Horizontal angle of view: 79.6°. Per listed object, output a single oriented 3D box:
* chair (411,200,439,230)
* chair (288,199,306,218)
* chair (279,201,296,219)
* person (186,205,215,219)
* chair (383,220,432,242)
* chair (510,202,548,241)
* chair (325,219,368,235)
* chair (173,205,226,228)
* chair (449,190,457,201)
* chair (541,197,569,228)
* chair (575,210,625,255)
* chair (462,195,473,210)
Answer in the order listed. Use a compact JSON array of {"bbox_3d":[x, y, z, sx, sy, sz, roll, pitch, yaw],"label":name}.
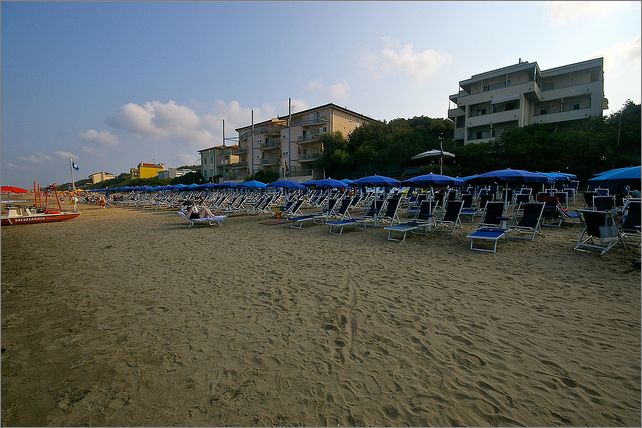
[{"bbox_3d":[3.191,0.004,12.010,0.652,0.650,0.760,13,34,25],"label":"chair"},{"bbox_3d":[-1.073,-0.225,16.220,0.880,0.706,0.579,-9,5,-31],"label":"chair"},{"bbox_3d":[-1.462,-0.132,16.668,0.664,0.287,0.923,1,14,7],"label":"chair"},{"bbox_3d":[-4.594,-0.075,14.718,0.965,0.386,0.536,-5,10,-32],"label":"person"},{"bbox_3d":[2.621,0.518,11.756,1.491,0.313,0.688,-10,11,-40],"label":"chair"},{"bbox_3d":[5.612,0.167,10.420,1.051,0.859,0.616,-17,17,-38],"label":"chair"},{"bbox_3d":[0.888,0.415,13.456,1.240,0.268,0.574,-5,7,-44],"label":"chair"},{"bbox_3d":[-4.447,0.183,14.518,1.514,0.542,1.025,0,5,-20],"label":"chair"},{"bbox_3d":[5.644,-0.788,16.341,0.329,0.289,1.449,2,8,19],"label":"chair"},{"bbox_3d":[7.804,-0.030,12.662,1.427,0.732,0.731,6,-5,-38],"label":"chair"},{"bbox_3d":[6.830,0.372,9.238,1.424,0.767,0.769,-4,6,-35],"label":"chair"},{"bbox_3d":[5.508,-0.417,14.361,0.522,0.589,0.477,3,18,18],"label":"chair"}]
